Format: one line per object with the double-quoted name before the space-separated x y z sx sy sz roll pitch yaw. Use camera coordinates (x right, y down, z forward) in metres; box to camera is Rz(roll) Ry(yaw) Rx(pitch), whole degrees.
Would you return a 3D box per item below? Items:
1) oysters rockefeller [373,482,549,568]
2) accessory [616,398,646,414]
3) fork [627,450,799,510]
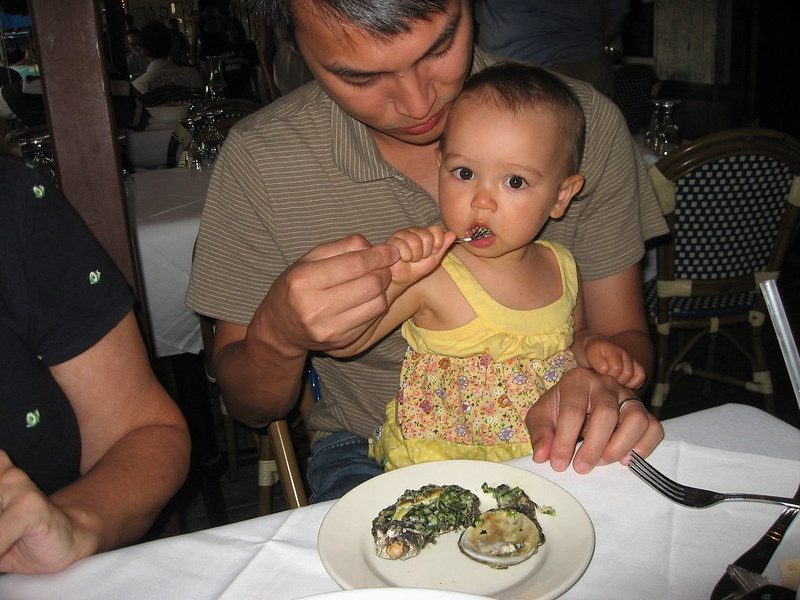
"oysters rockefeller" 0.086 0.339 0.880 0.164 0.038 0.123 -1 26 3
"accessory" 0.437 0.205 1.117 0.034 0.009 0.032 -17 24 -24
"fork" 0.510 0.297 0.938 0.339 0.046 0.051 2 18 23
